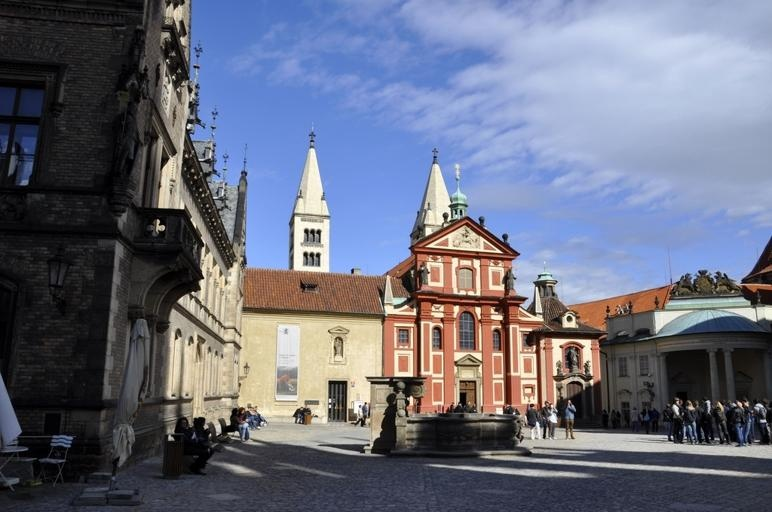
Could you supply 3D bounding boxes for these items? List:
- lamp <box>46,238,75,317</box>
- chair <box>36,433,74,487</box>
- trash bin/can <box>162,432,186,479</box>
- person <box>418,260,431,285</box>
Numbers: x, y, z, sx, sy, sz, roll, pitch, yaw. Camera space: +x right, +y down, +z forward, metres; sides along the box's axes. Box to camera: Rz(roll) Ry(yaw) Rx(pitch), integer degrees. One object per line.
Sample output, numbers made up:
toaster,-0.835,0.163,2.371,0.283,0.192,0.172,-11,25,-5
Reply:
lamp,-8.860,0.614,18.339,0.551,1.846,0.675,5,-16,-14
chair,-8.562,5.278,17.564,0.801,1.239,1.113,9,-17,-25
trash bin/can,-6.047,5.716,19.375,0.606,1.052,0.545,5,12,-10
person,3.128,1.476,54.312,0.971,1.996,0.567,1,-15,3
